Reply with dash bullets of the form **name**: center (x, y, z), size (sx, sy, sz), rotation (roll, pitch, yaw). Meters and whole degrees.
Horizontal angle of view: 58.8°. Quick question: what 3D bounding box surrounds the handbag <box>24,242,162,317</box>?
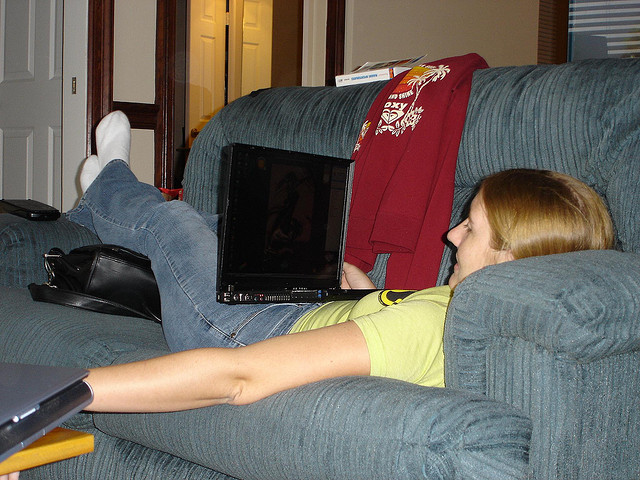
- **handbag**: center (-0.583, 0.082, 1.469), size (0.254, 0.138, 0.357), rotation (13, 6, 27)

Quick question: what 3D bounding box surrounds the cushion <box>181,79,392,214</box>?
- **cushion**: center (-0.135, -0.298, 1.855), size (0.690, 0.428, 0.157), rotation (3, 2, 28)

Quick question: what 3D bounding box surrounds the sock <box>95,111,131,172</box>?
- **sock**: center (-0.667, -0.336, 1.833), size (0.103, 0.219, 0.291), rotation (1, 2, -21)

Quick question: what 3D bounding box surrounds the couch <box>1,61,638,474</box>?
- **couch**: center (0.098, 0.102, 1.668), size (1.623, 0.849, 0.851), rotation (-4, -14, 6)

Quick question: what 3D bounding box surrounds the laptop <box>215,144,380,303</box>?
- **laptop**: center (-0.095, -0.056, 1.339), size (0.406, 0.311, 0.364), rotation (2, 10, -27)
